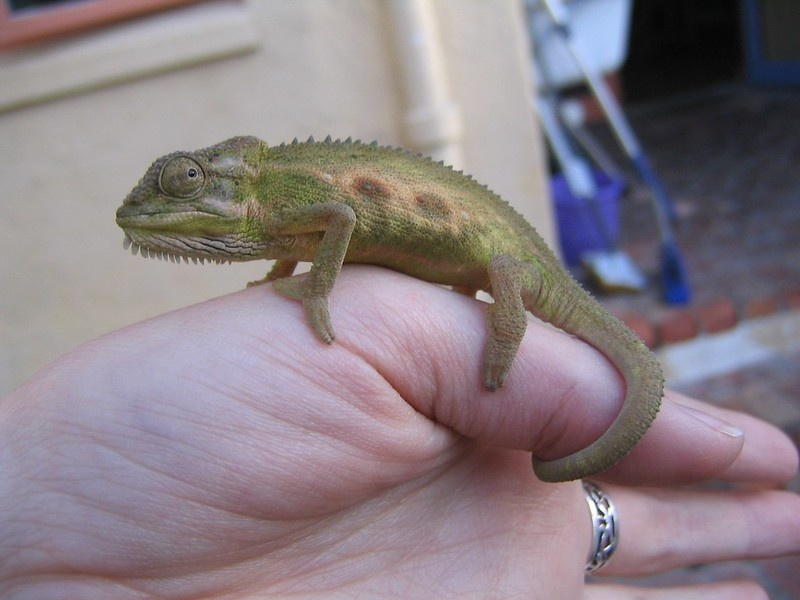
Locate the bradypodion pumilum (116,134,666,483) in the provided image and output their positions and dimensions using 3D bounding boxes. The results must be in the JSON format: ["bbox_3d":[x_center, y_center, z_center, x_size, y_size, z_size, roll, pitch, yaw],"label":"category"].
[{"bbox_3d":[0.004,-0.056,1.462,0.926,0.328,0.596,13,16,4],"label":"bradypodion pumilum"}]

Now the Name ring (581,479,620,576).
[{"bbox_3d":[0.410,0.442,1.761,0.073,0.186,0.075,0,10,0],"label":"Name ring"}]
